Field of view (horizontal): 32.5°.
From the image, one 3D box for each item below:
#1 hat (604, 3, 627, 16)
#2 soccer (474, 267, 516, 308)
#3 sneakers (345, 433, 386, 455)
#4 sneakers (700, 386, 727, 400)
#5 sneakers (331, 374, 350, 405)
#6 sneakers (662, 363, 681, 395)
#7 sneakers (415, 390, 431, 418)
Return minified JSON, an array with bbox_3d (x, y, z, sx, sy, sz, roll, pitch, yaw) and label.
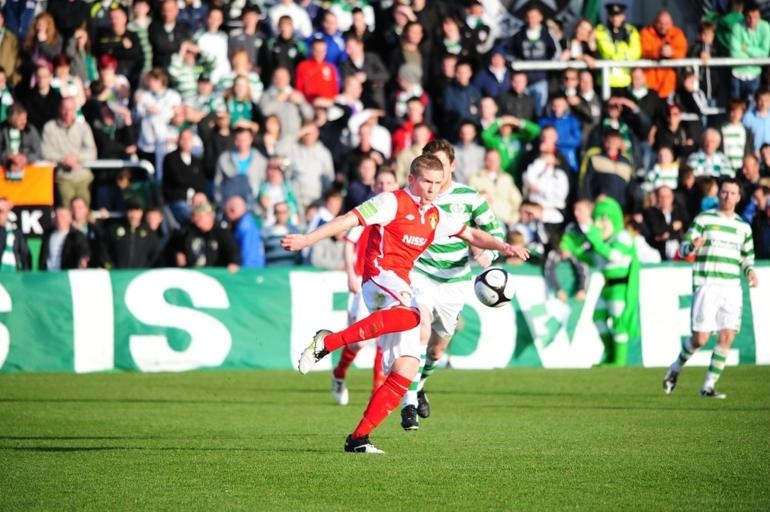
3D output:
[{"bbox_3d":[4.059,-4.299,23.219,0.273,0.080,0.296,9,17,3],"label":"hat"},{"bbox_3d":[1.430,0.381,17.231,0.435,0.505,0.467,-1,0,2],"label":"soccer"},{"bbox_3d":[-0.245,2.260,16.193,0.538,0.267,0.203,5,1,-6],"label":"sneakers"},{"bbox_3d":[4.678,1.912,18.806,0.351,0.161,0.141,1,6,10],"label":"sneakers"},{"bbox_3d":[-0.642,1.844,18.587,0.141,0.483,0.194,-12,17,-9],"label":"sneakers"},{"bbox_3d":[4.116,1.744,18.956,0.161,0.508,0.188,14,3,-6],"label":"sneakers"},{"bbox_3d":[0.500,1.928,17.551,0.117,0.405,0.169,-6,-38,7],"label":"sneakers"}]
